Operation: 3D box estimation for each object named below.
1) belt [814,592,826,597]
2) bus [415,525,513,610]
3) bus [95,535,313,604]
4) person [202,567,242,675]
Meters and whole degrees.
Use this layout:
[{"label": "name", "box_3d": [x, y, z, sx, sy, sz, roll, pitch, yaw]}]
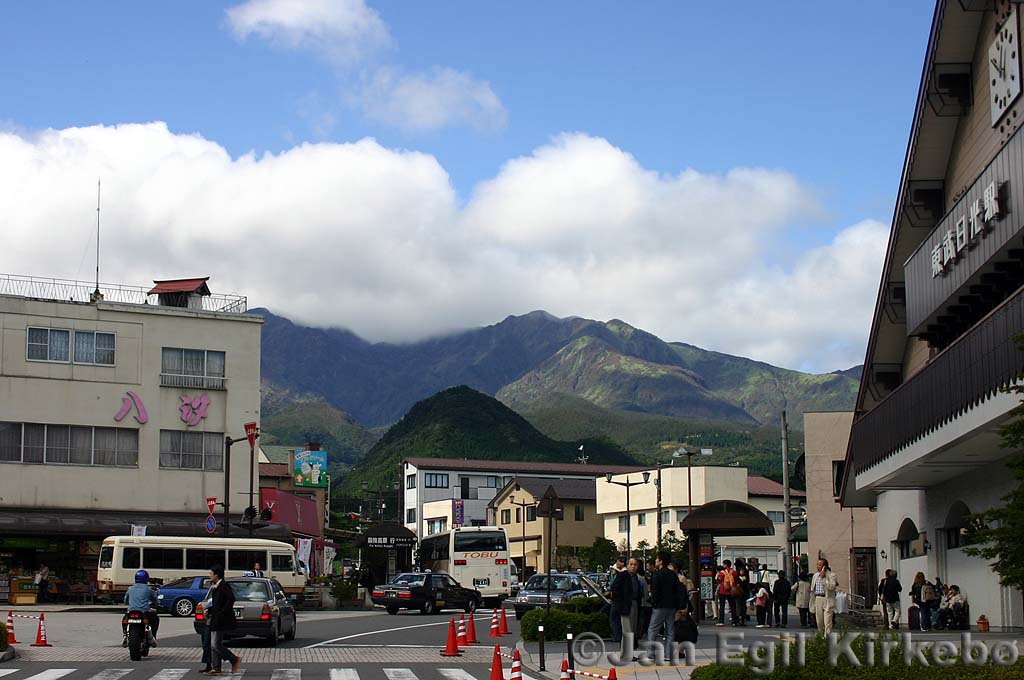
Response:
[{"label": "belt", "box_3d": [10.538, 8.647, 48.310, 0.428, 0.174, 0.092, -17, -23, 40]}, {"label": "bus", "box_3d": [-1.610, 12.416, 78.752, 4.877, 4.308, 5.461, 5, -14, -42]}, {"label": "bus", "box_3d": [-13.629, 9.975, 61.781, 10.040, 4.360, 3.807, 0, -7, -7]}, {"label": "person", "box_3d": [-8.974, 8.697, 44.361, 1.355, 2.990, 1.189, 2, -7, -16]}]
